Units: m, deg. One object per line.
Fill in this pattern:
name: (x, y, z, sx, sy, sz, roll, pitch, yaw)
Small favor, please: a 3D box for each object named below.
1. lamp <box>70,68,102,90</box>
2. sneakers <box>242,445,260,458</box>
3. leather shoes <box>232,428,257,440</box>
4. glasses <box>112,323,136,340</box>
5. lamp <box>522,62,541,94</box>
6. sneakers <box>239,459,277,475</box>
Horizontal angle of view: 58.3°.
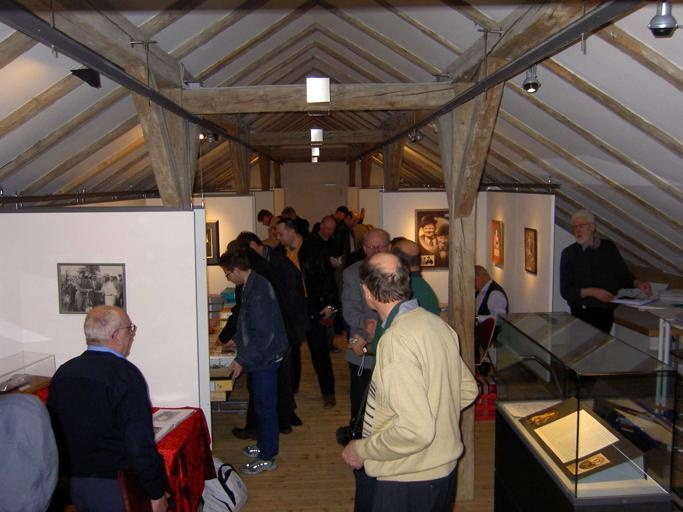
lamp: (-1.809, -1.283, 4.365, 0.156, 0.136, 0.289, -4, 13, -15)
sneakers: (-0.811, 1.780, 5.560, 0.189, 0.078, 0.111, 3, 13, -19)
leather shoes: (-0.926, 1.707, 5.936, 0.254, 0.104, 0.095, 11, 4, 4)
glasses: (-1.321, 0.480, 3.829, 0.184, 0.057, 0.184, -6, 3, -15)
lamp: (1.413, -1.312, 4.540, 0.106, 0.196, 0.259, 4, 13, 18)
sneakers: (-0.709, 1.831, 5.328, 0.290, 0.128, 0.115, 3, 5, -14)
